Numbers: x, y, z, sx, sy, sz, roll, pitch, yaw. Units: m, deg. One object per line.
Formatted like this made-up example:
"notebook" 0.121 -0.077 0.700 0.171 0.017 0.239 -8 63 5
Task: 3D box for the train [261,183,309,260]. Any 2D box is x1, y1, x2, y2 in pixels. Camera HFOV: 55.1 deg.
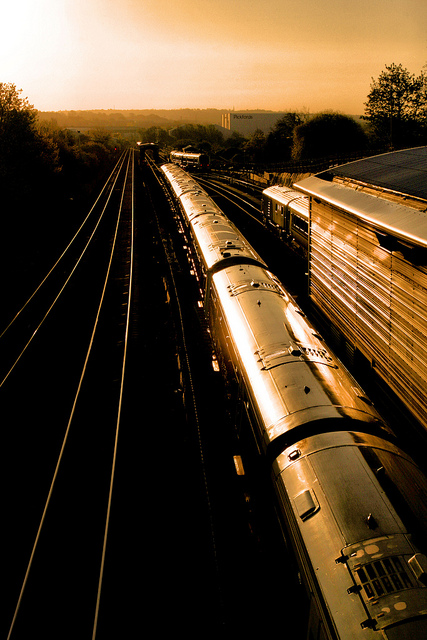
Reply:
"train" 5.537 -6.734 27.983 1.401 3.250 8.933 -7 31 -16
